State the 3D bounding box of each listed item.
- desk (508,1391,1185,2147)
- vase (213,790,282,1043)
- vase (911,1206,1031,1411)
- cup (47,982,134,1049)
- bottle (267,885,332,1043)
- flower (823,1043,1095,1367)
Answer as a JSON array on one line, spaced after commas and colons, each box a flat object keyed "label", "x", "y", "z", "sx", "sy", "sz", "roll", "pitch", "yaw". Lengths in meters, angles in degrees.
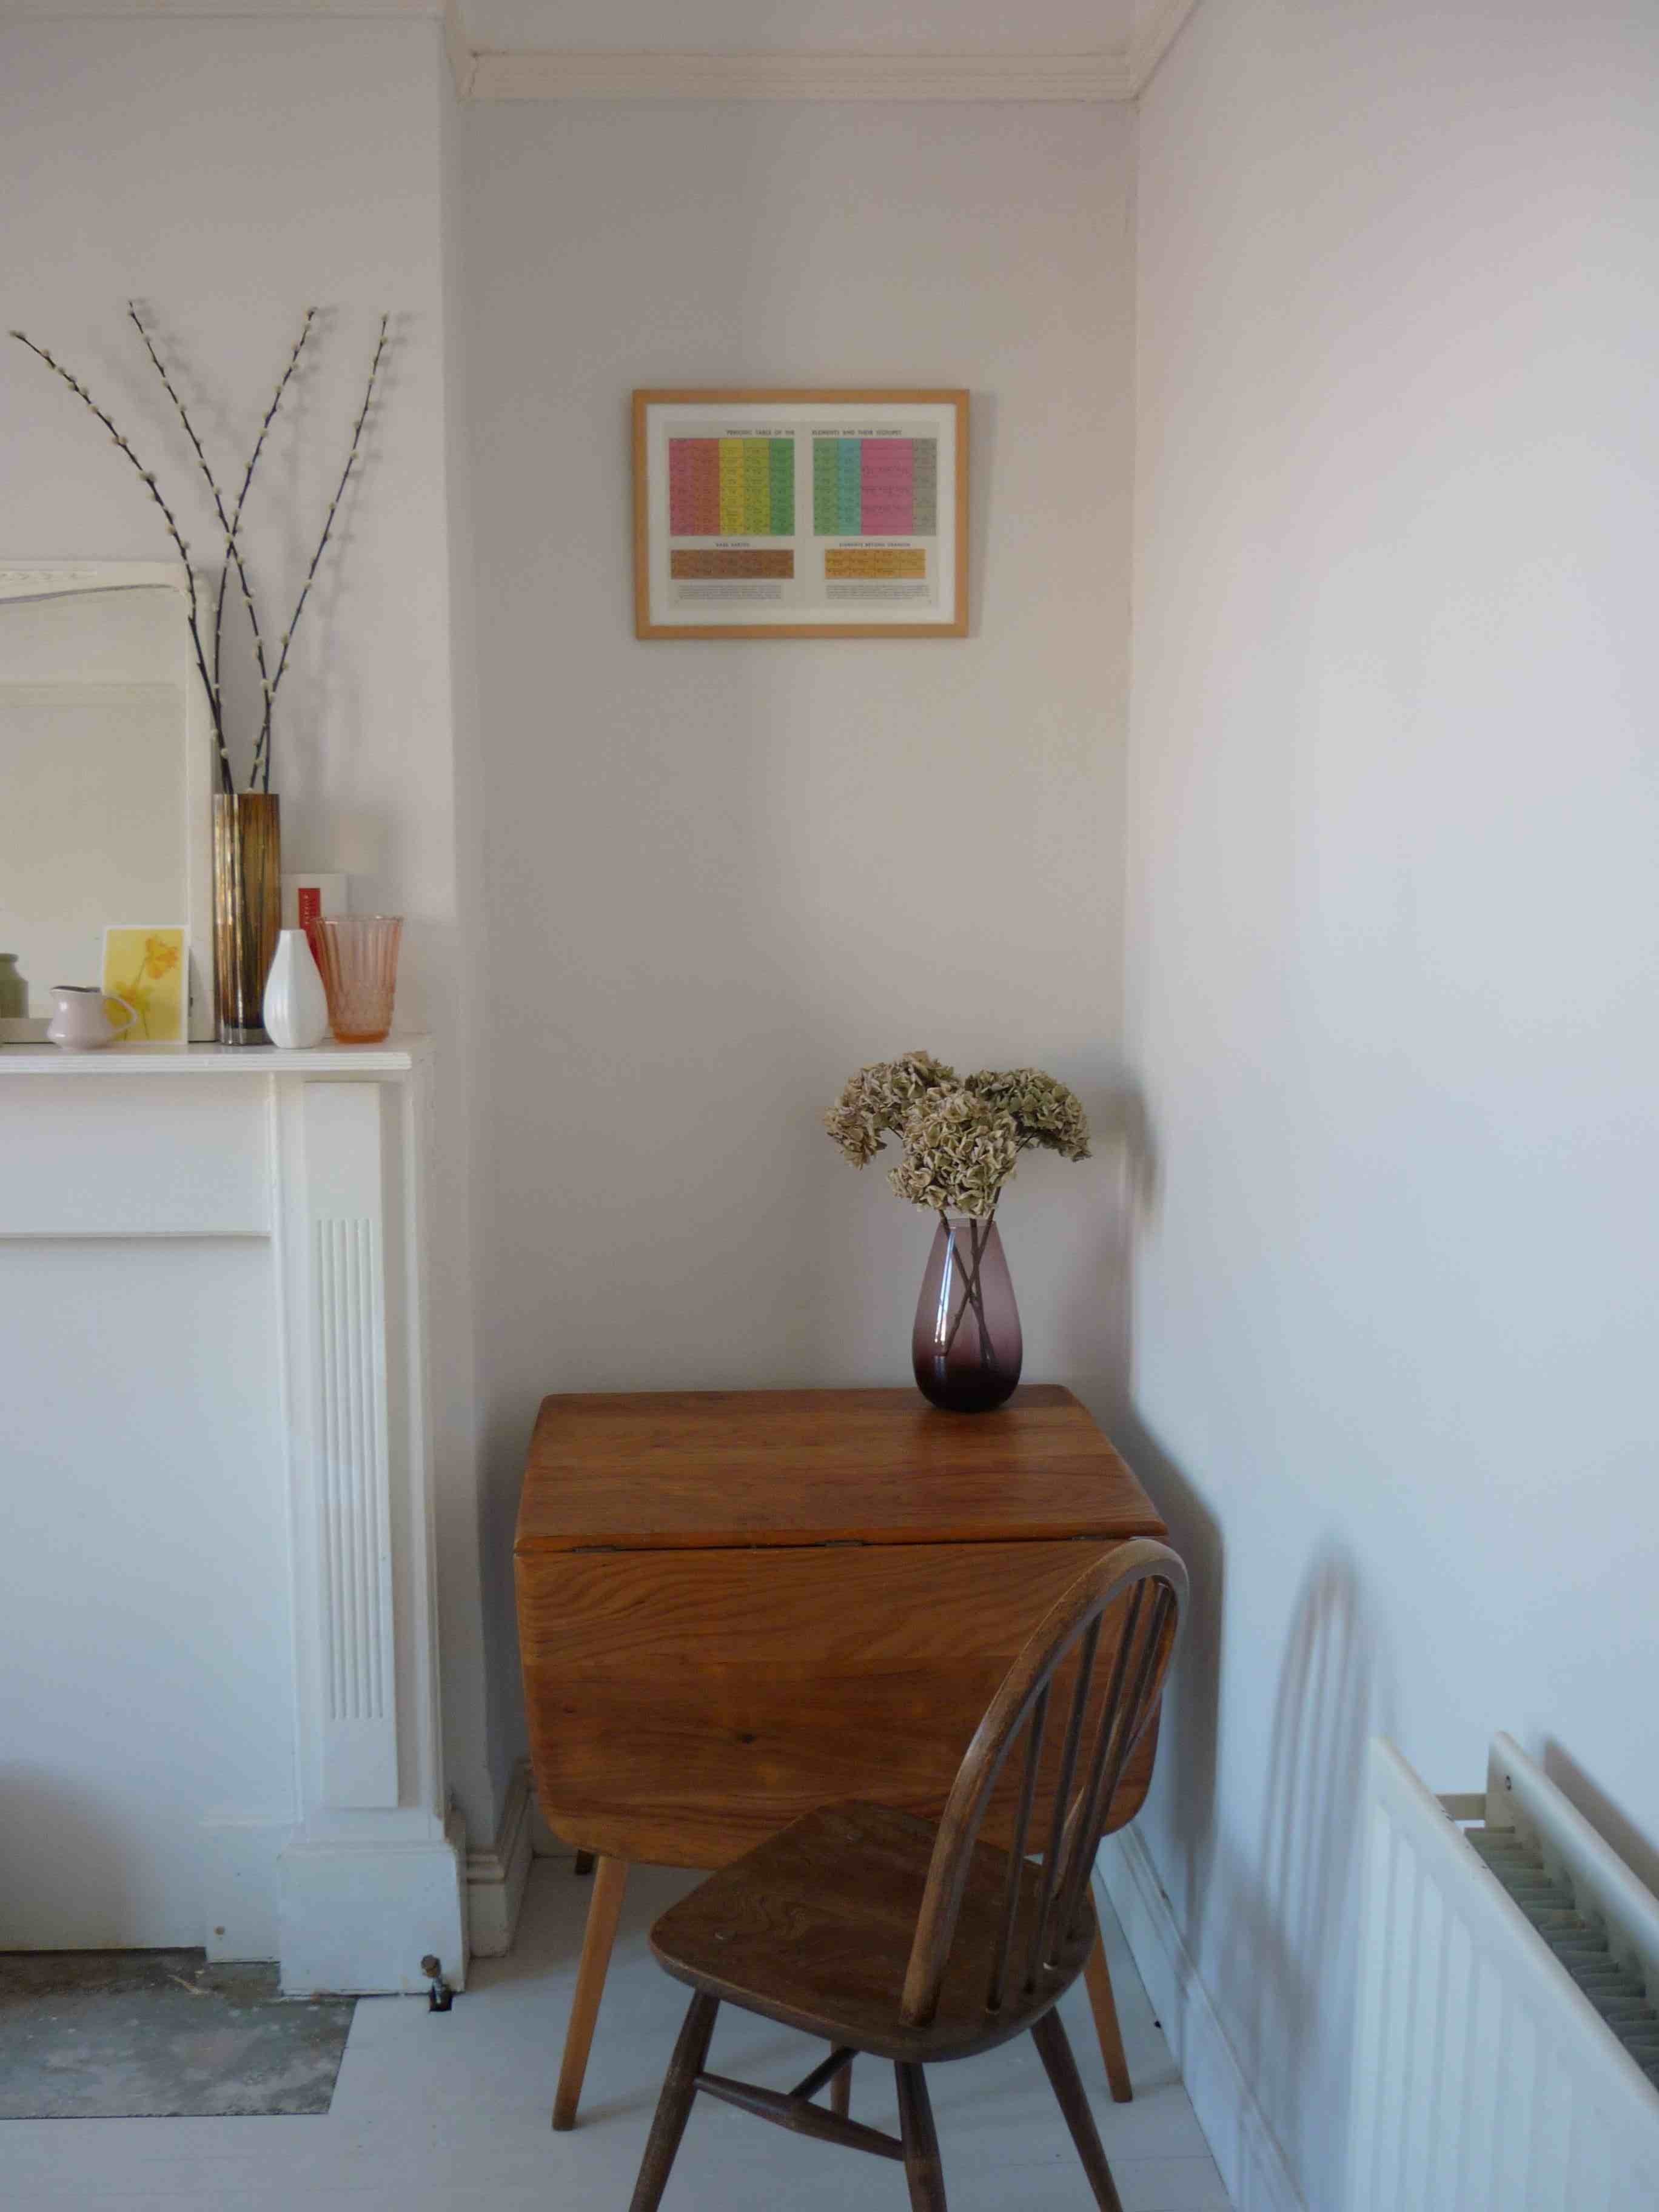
[{"label": "desk", "x": 0.005, "y": 0.635, "z": 2.317, "sx": 0.836, "sy": 0.862, "sz": 0.667, "roll": -1, "pitch": 2, "yaw": -6}, {"label": "vase", "x": -0.710, "y": -0.228, "z": 2.238, "sx": 0.087, "sy": 0.297, "sz": 0.062, "roll": 0, "pitch": 6, "yaw": -4}, {"label": "vase", "x": 0.186, "y": 0.281, "z": 2.451, "sx": 0.140, "sy": 0.246, "sz": 0.142, "roll": 2, "pitch": 6, "yaw": 3}, {"label": "cup", "x": -0.885, "y": -0.121, "z": 2.223, "sx": 0.085, "sy": 0.087, "sz": 0.083, "roll": 4, "pitch": 10, "yaw": -1}, {"label": "bottle", "x": -0.641, "y": -0.168, "z": 2.222, "sx": 0.075, "sy": 0.193, "sz": 0.177, "roll": -2, "pitch": 7, "yaw": -15}, {"label": "flower", "x": 0.132, "y": 0.160, "z": 2.486, "sx": 0.268, "sy": 0.461, "sz": 0.358, "roll": -4, "pitch": 7, "yaw": -31}]
